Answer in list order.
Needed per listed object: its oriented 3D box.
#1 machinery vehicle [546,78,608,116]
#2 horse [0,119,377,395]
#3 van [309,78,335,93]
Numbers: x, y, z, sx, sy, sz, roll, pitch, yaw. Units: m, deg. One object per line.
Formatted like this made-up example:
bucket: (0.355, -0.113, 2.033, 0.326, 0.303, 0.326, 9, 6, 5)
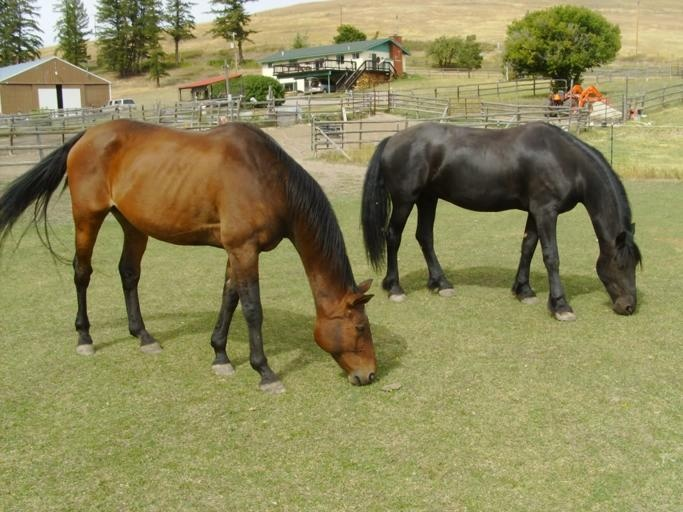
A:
machinery vehicle: (12.012, -7.833, 36.636, 2.601, 1.163, 0.761, -6, -3, -30)
horse: (-1.390, -0.017, 7.290, 3.481, 2.587, 0.818, 2, 19, 17)
van: (-1.466, -14.123, 61.466, 1.877, 1.108, 3.399, -2, 18, 3)
